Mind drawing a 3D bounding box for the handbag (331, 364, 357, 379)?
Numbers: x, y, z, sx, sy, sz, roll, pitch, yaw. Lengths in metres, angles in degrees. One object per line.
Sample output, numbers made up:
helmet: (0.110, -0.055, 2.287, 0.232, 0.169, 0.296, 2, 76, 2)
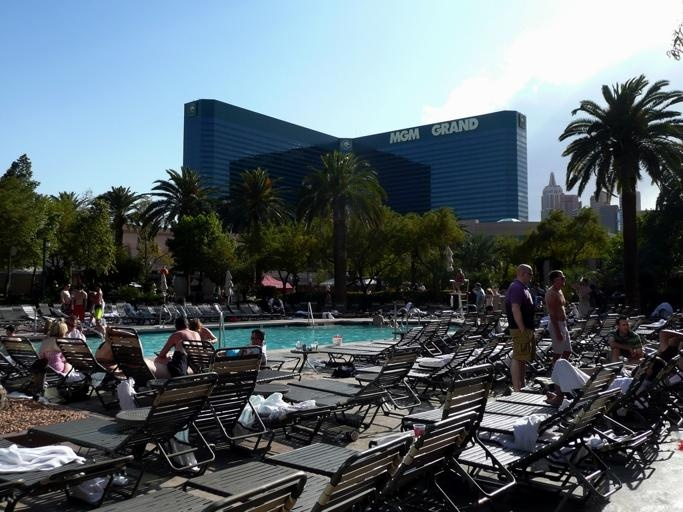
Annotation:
handbag: (0.081, 2.241, 11.524, 0.393, 0.241, 0.549, -8, -7, 6)

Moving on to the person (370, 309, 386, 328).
person: (1.845, 3.097, 28.985, 0.713, 1.111, 1.142, 3, 0, 2)

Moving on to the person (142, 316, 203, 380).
person: (-2.568, 1.422, 8.966, 0.604, 1.019, 0.790, 1, -11, 24)

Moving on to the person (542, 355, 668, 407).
person: (2.960, 1.476, 7.256, 0.855, 0.546, 0.761, 7, -17, -43)

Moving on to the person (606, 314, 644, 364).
person: (4.766, 1.452, 9.871, 0.688, 0.860, 0.610, -2, 2, -30)

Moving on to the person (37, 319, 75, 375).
person: (-4.695, 1.501, 9.851, 0.501, 0.866, 0.613, 7, 5, 43)
